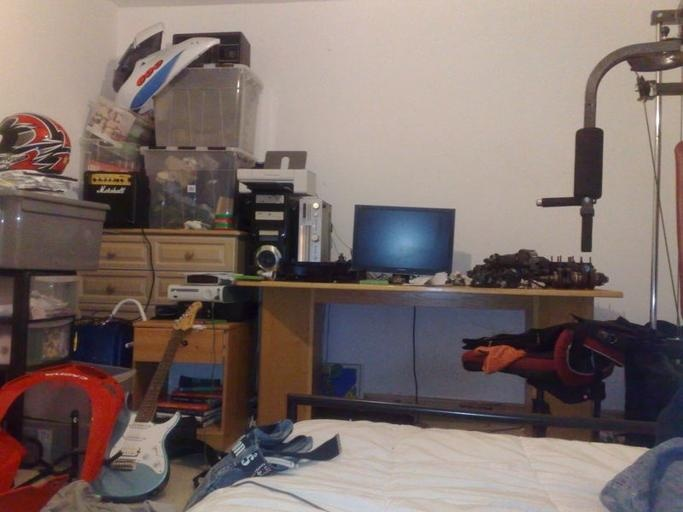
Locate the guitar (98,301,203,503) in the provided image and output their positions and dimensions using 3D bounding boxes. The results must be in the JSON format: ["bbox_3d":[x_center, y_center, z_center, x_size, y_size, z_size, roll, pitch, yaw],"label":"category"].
[{"bbox_3d":[-0.964,0.718,3.318,0.315,0.966,0.688,3,0,3],"label":"guitar"}]

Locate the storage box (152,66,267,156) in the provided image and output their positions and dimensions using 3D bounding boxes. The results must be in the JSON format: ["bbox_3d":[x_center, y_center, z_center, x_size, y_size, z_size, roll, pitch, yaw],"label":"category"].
[{"bbox_3d":[-0.840,-0.914,4.290,0.666,0.416,0.465,-2,0,18],"label":"storage box"}]

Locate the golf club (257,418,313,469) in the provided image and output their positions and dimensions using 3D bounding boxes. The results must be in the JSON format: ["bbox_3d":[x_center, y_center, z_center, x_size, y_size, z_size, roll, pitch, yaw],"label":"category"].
[{"bbox_3d":[-0.206,0.684,2.386,0.171,0.123,0.053,-22,-20,-48],"label":"golf club"}]

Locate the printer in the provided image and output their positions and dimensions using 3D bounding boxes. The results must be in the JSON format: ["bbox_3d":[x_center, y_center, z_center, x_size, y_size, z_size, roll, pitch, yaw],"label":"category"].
[{"bbox_3d":[-0.367,-0.500,4.001,0.342,0.210,0.335,0,-1,9],"label":"printer"}]

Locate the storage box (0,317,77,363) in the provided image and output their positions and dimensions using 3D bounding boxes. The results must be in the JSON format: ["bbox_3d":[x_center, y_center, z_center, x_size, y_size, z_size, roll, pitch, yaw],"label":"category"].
[{"bbox_3d":[-1.477,0.410,3.231,0.200,0.227,0.361,0,1,16],"label":"storage box"}]

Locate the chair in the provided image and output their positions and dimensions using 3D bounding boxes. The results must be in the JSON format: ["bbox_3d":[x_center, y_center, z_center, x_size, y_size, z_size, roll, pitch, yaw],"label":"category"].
[{"bbox_3d":[0.989,0.678,3.390,0.528,0.619,0.646,7,-24,-14],"label":"chair"}]
